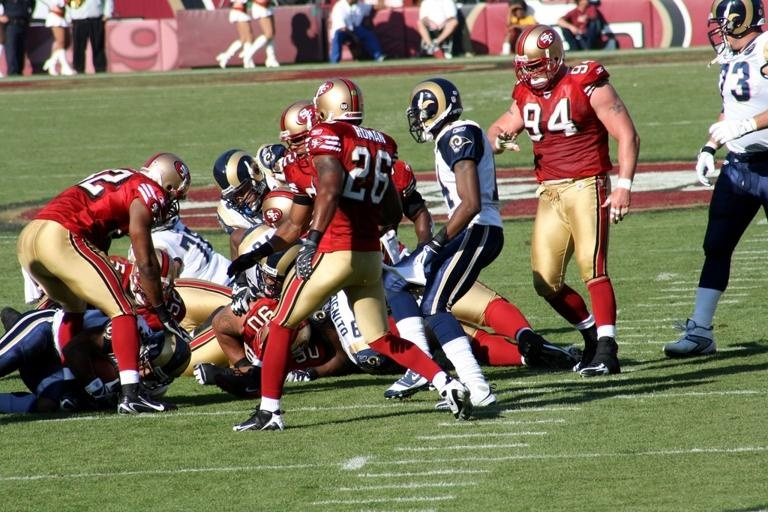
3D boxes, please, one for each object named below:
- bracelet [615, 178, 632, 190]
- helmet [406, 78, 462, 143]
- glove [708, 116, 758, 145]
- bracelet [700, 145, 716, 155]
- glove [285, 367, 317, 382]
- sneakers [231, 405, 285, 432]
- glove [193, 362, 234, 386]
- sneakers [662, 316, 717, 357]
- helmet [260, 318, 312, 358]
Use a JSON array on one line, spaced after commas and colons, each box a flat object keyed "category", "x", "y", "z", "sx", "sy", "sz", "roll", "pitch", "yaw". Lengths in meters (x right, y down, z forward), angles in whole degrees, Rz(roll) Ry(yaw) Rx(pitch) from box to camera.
[{"category": "bracelet", "x": 1.635, "y": -0.492, "z": 8.433, "sx": 0.089, "sy": 0.063, "sz": 0.089, "roll": 0, "pitch": 0, "yaw": 20}, {"category": "helmet", "x": 0.372, "y": -1.010, "z": 8.469, "sx": 0.459, "sy": 0.443, "sz": 0.345, "roll": -7, "pitch": 13, "yaw": 16}, {"category": "glove", "x": 2.416, "y": -0.871, "z": 8.561, "sx": 0.252, "sy": 0.153, "sz": 0.091, "roll": -20, "pitch": -15, "yaw": 6}, {"category": "bracelet", "x": 2.368, "y": -0.776, "z": 9.044, "sx": 0.067, "sy": 0.075, "sz": 0.086, "roll": -34, "pitch": -28, "yaw": 10}, {"category": "glove", "x": -0.583, "y": 0.847, "z": 8.734, "sx": 0.220, "sy": 0.092, "sz": 0.077, "roll": 2, "pitch": -2, "yaw": -13}, {"category": "sneakers", "x": -0.826, "y": 1.037, "z": 7.877, "sx": 0.384, "sy": 0.161, "sz": 0.125, "roll": 1, "pitch": -1, "yaw": 1}, {"category": "glove", "x": -1.139, "y": 0.801, "z": 8.468, "sx": 0.314, "sy": 0.103, "sz": 0.140, "roll": 2, "pitch": -13, "yaw": 20}, {"category": "sneakers", "x": 2.175, "y": 0.567, "z": 8.811, "sx": 0.426, "sy": 0.272, "sz": 0.144, "roll": -6, "pitch": 4, "yaw": -16}, {"category": "helmet", "x": -0.614, "y": 0.569, "z": 8.580, "sx": 0.228, "sy": 0.290, "sz": 0.116, "roll": 17, "pitch": 10, "yaw": -14}]
